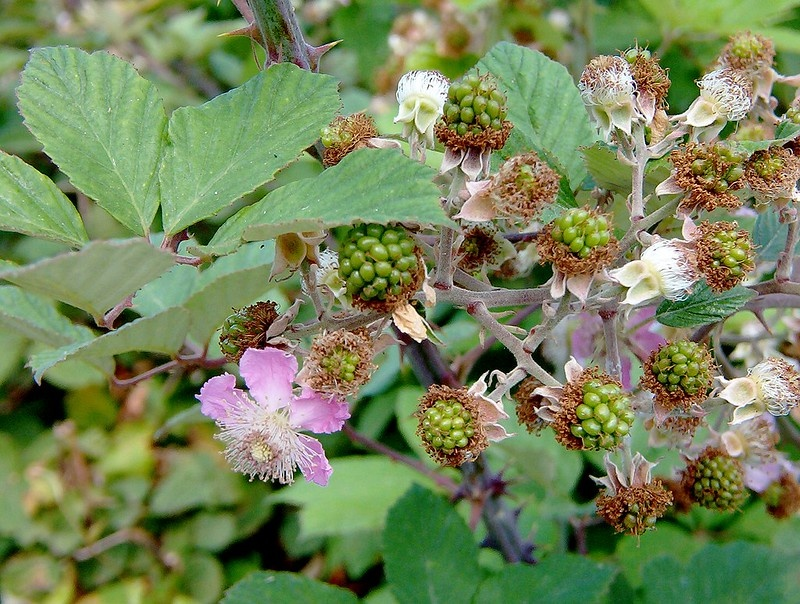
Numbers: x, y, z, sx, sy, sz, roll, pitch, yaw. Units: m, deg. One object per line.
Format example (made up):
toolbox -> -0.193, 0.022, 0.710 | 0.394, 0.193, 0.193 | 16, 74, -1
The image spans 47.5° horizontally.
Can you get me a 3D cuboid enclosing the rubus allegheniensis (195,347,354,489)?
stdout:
rubus allegheniensis -> -0.204, 0.168, 1.444 | 0.218, 0.241, 0.103 | -6, 27, 49
